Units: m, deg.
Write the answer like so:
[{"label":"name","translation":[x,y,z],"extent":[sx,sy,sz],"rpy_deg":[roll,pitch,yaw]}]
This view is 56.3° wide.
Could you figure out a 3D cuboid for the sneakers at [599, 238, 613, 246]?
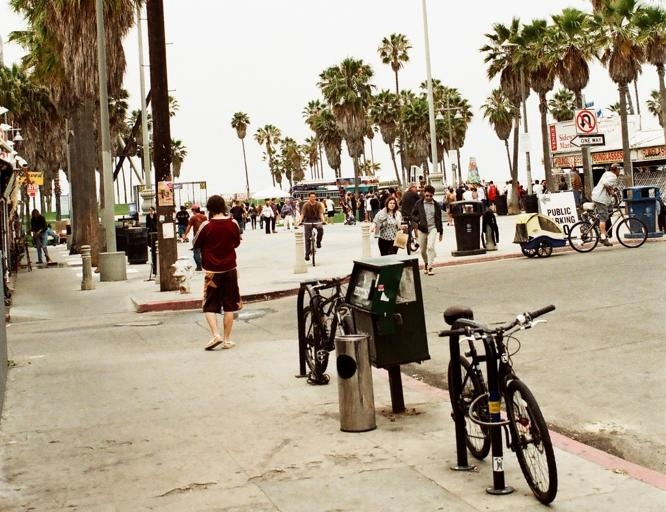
[{"label":"sneakers","translation":[8.421,-0.438,19.305],"extent":[0.552,0.296,0.179],"rpy_deg":[3,7,-40]}]

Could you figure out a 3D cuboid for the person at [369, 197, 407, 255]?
[{"label":"person","translation":[1.512,-0.814,17.220],"extent":[0.783,1.636,2.369],"rpy_deg":[-3,3,5]}]

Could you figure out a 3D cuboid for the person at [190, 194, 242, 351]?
[{"label":"person","translation":[-1.779,0.274,9.733],"extent":[0.689,2.415,0.443],"rpy_deg":[-4,3,-11]}]

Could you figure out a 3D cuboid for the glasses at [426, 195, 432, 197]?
[{"label":"glasses","translation":[2.574,-1.592,16.659],"extent":[0.204,0.079,0.078],"rpy_deg":[-7,4,-36]}]

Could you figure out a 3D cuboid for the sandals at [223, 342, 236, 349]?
[{"label":"sandals","translation":[-1.651,1.421,9.961],"extent":[0.073,0.088,0.196],"rpy_deg":[2,5,21]}]

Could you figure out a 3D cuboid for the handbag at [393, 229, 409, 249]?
[{"label":"handbag","translation":[1.814,-0.471,16.804],"extent":[0.412,0.741,0.282],"rpy_deg":[9,17,9]}]

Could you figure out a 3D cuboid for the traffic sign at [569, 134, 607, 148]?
[{"label":"traffic sign","translation":[11.167,-5.095,27.285],"extent":[0.774,0.584,2.473],"rpy_deg":[-1,5,44]}]

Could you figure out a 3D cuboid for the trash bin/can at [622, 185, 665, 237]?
[{"label":"trash bin/can","translation":[10.095,-1.445,20.317],"extent":[1.385,2.078,1.532],"rpy_deg":[-3,1,18]}]

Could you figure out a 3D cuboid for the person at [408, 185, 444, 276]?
[{"label":"person","translation":[2.569,-0.695,16.773],"extent":[0.732,2.389,0.845],"rpy_deg":[-2,3,30]}]

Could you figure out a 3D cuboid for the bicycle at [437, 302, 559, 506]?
[{"label":"bicycle","translation":[1.192,1.125,4.920],"extent":[0.704,1.138,1.549],"rpy_deg":[-2,2,-12]}]

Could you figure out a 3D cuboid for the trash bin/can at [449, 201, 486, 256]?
[{"label":"trash bin/can","translation":[4.403,-0.904,20.337],"extent":[1.098,1.784,0.816],"rpy_deg":[-3,3,-1]}]

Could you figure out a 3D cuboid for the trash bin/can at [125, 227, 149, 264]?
[{"label":"trash bin/can","translation":[-8.224,-0.408,26.205],"extent":[0.846,1.127,0.985],"rpy_deg":[-5,3,-21]}]
